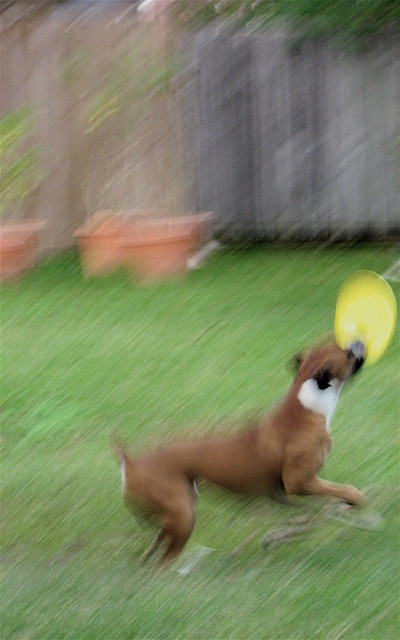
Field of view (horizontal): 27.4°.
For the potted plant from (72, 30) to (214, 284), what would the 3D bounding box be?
[{"bbox_3d":[-0.171,-0.485,2.677,0.226,0.843,0.438,11,22,31],"label":"potted plant"}]
